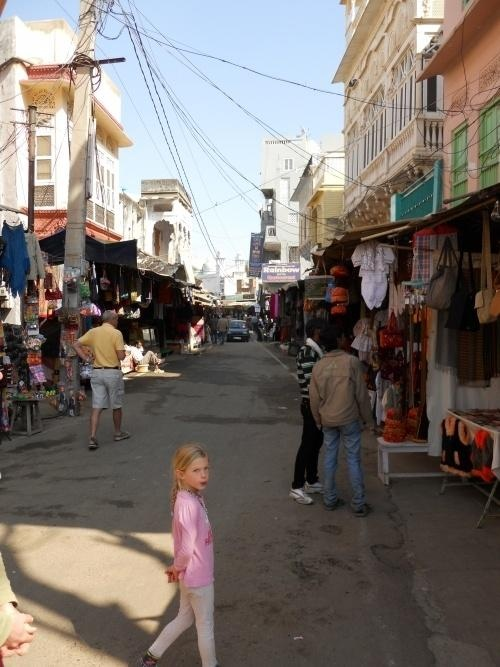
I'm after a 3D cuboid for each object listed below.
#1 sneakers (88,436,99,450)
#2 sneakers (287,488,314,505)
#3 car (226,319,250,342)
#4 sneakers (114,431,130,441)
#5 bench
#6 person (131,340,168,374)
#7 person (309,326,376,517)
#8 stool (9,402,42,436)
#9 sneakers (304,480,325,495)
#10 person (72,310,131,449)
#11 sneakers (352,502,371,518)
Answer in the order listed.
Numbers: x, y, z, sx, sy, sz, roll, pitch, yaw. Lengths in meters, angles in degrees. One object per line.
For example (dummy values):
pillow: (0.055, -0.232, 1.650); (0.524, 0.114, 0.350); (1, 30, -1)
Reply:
sneakers: (-1.909, 1.376, 7.711); (0.074, 0.103, 0.210); (1, -10, 1)
sneakers: (0.458, 1.458, 5.595); (0.089, 0.103, 0.202); (-7, 7, -43)
car: (-0.892, -0.080, 42.505); (1.309, 1.487, 2.812); (0, -1, -1)
sneakers: (-1.686, 1.367, 8.294); (0.082, 0.120, 0.239); (7, 10, 22)
bench: (1.561, 1.348, 6.377); (0.552, 0.313, 0.446); (1, 5, -2)
person: (-3.160, 0.714, 18.992); (0.896, 0.929, 2.624); (-2, 1, -9)
person: (0.757, 0.723, 5.350); (0.524, 1.339, 0.388); (-2, 1, 24)
stool: (-3.235, 1.198, 8.966); (0.424, 0.598, 0.504); (0, -1, 8)
sneakers: (0.602, 1.472, 5.923); (0.217, 0.178, 0.081); (-1, 7, -1)
person: (-1.835, 0.573, 7.950); (0.663, 1.730, 0.551); (-2, 1, -29)
sneakers: (0.918, 1.473, 5.192); (0.081, 0.080, 0.155); (2, -3, 9)
